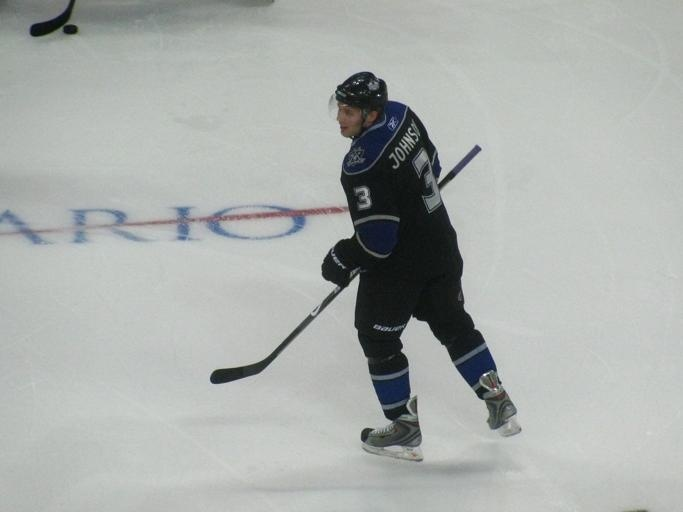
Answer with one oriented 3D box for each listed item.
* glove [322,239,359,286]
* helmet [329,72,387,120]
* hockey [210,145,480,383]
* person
[{"bbox_3d":[-0.004,0.038,4.423,0.081,0.163,0.220,-22,-8,-39],"label":"glove"},{"bbox_3d":[0.091,-0.767,4.425,0.218,0.215,0.168,8,29,5],"label":"helmet"},{"bbox_3d":[0.041,0.093,4.860,1.917,0.210,0.101,-37,33,4],"label":"hockey"},{"bbox_3d":[0.341,0.064,4.492,0.855,1.850,0.302,0,5,-3],"label":"person"}]
